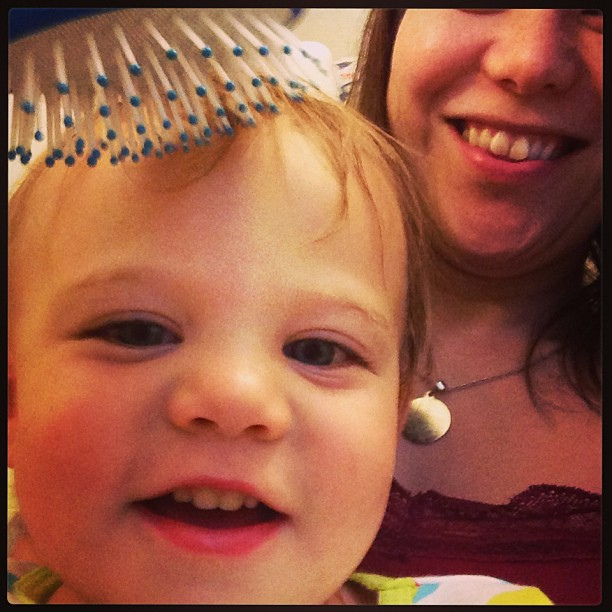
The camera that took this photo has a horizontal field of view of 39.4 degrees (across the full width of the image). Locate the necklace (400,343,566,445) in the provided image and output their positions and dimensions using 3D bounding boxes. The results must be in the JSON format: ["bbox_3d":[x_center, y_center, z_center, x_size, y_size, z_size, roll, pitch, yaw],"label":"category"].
[{"bbox_3d":[0.263,0.160,1.411,0.229,0.121,0.041,-4,15,-13],"label":"necklace"}]
